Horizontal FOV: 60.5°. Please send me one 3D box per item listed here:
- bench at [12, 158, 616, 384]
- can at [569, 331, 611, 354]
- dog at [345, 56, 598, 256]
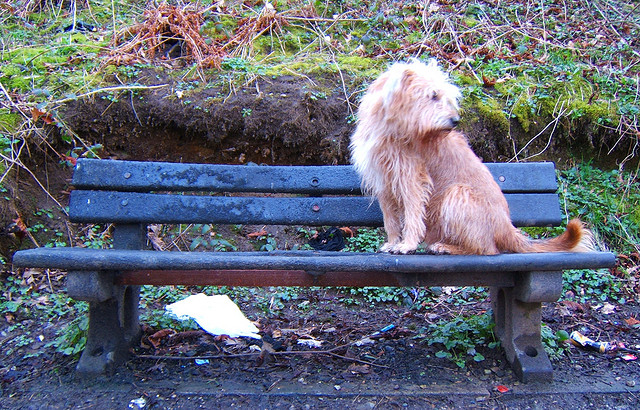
[{"bbox_3d":[-0.245,0.594,5.533,4.878,1.622,1.753,2,33,1],"label":"bench"},{"bbox_3d":[2.734,1.402,5.590,0.310,0.085,0.206,24,26,26],"label":"can"},{"bbox_3d":[1.646,-0.340,5.971,3.074,1.913,1.120,8,-8,-16],"label":"dog"}]
